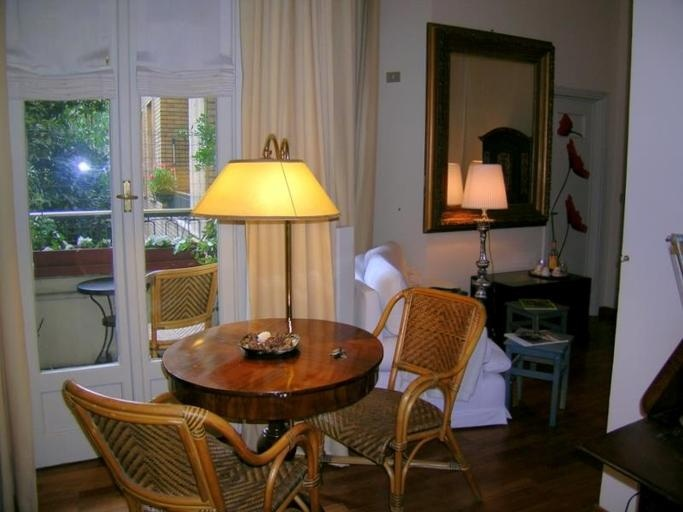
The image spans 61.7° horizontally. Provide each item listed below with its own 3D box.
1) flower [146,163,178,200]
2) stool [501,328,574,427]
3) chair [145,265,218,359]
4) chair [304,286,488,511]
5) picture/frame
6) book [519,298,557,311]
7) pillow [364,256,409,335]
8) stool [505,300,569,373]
[{"bbox_3d":[-1.064,-0.435,3.381,0.155,0.238,0.189,2,5,42],"label":"flower"},{"bbox_3d":[1.435,0.778,4.039,0.546,0.767,0.548,2,6,30],"label":"stool"},{"bbox_3d":[-1.006,0.282,3.711,0.460,0.775,0.495,-5,13,-32],"label":"chair"},{"bbox_3d":[0.193,0.521,3.332,1.007,1.473,1.009,-2,8,-34],"label":"chair"},{"bbox_3d":[1.235,-1.172,4.945,1.785,2.169,0.167,-3,10,-28],"label":"picture/frame"},{"bbox_3d":[1.532,0.378,4.435,0.288,0.024,0.290,2,14,9],"label":"book"},{"bbox_3d":[0.286,0.254,3.601,0.116,0.434,0.353,-11,11,2],"label":"pillow"},{"bbox_3d":[1.716,0.619,4.985,0.556,0.434,0.358,3,6,24],"label":"stool"}]
